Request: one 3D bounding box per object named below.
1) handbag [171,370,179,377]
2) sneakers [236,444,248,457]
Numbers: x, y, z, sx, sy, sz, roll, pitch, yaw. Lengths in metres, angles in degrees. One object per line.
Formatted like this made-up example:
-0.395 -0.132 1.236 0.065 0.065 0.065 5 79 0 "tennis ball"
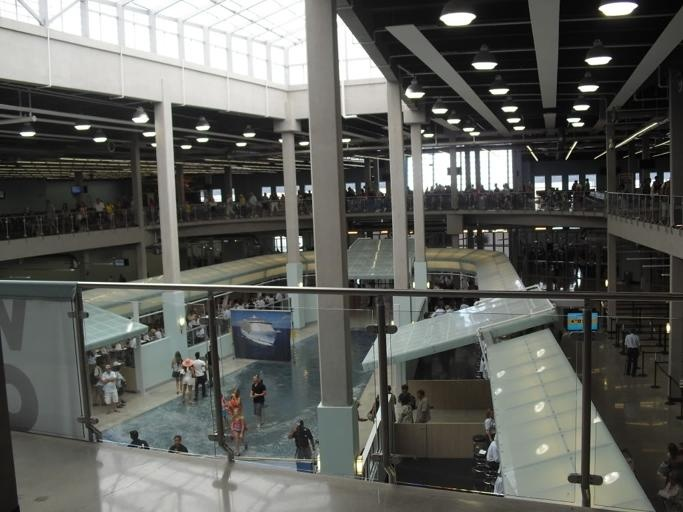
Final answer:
-1.392 1.000 4.740 0.065 0.050 0.038 3 7 7 "handbag"
-0.832 1.642 4.733 0.141 0.105 0.050 1 -3 -5 "sneakers"
